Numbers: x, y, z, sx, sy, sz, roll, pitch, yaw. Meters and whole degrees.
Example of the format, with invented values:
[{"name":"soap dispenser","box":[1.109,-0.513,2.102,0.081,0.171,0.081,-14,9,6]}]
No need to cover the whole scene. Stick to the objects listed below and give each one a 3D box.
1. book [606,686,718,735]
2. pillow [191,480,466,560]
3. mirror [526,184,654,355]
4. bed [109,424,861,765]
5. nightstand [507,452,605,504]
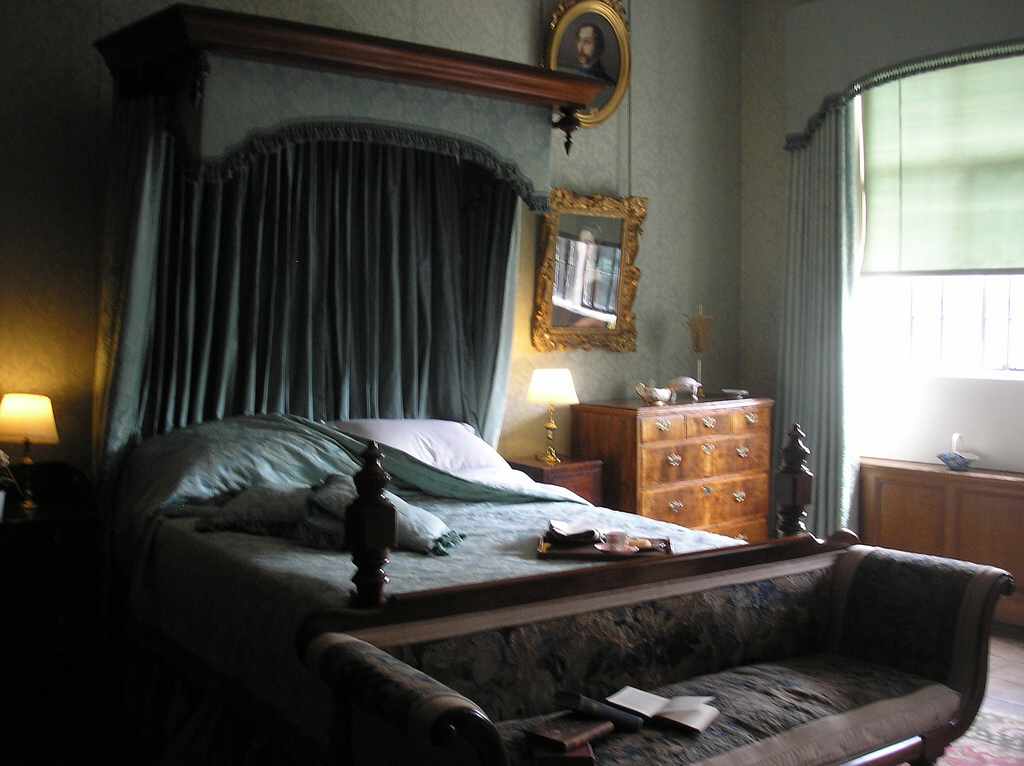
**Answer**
[{"name":"book","box":[0.512,1.104,2.849,0.379,0.040,0.257,6,9,12]},{"name":"pillow","box":[-0.794,0.580,3.570,0.633,0.210,0.528,5,-8,6]},{"name":"mirror","box":[0.517,-0.825,5.961,1.230,1.491,0.138,2,3,-38]},{"name":"bed","box":[-0.221,0.830,3.282,1.243,0.565,1.538,-3,3,-42]},{"name":"nightstand","box":[0.318,0.573,5.548,0.379,0.395,0.393,-2,1,-36]}]
